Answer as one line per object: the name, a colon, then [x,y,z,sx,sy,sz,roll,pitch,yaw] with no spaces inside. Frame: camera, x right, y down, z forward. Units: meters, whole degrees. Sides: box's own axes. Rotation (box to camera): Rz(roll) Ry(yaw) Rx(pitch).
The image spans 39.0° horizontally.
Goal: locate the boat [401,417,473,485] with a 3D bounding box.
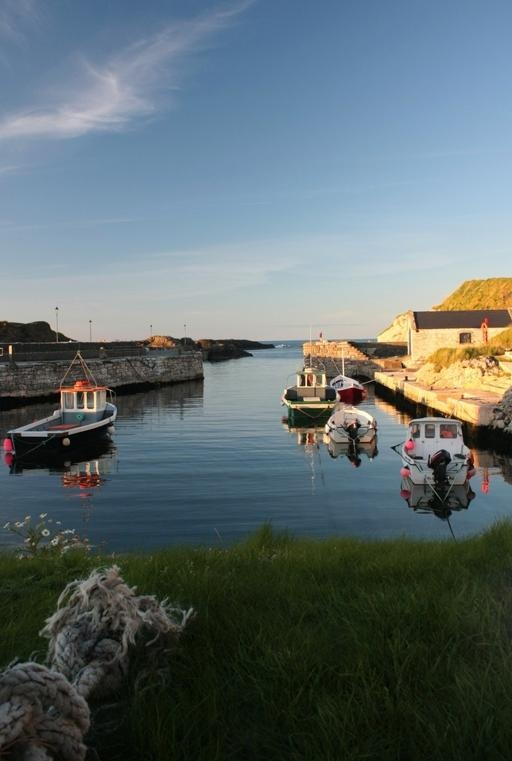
boat: [4.636,1.817,18.612,1.205,0.957,2.355,0,8,10]
